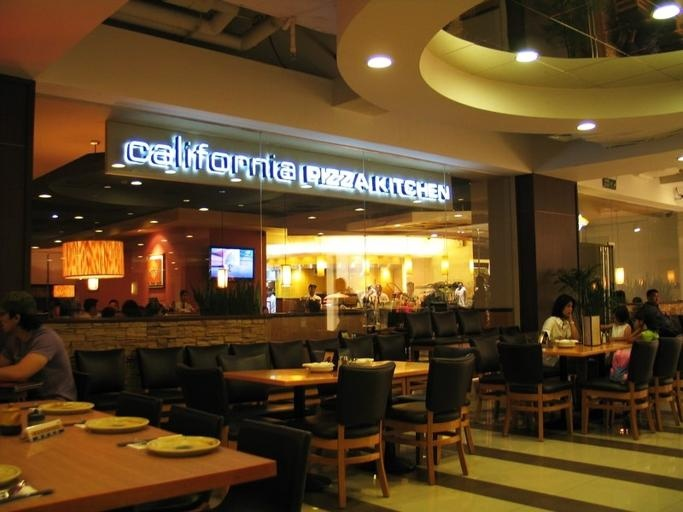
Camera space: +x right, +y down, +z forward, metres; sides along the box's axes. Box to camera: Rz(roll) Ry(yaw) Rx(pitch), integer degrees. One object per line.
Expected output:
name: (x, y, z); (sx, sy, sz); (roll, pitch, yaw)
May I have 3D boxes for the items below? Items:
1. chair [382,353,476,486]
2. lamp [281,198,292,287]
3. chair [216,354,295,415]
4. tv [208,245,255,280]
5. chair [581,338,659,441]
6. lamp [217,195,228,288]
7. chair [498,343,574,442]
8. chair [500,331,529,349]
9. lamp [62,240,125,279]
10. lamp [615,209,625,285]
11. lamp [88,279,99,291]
chair: (0.778, 1.409, 5.203); (0.800, 1.063, 0.857); (-1, -2, -2)
lamp: (-0.728, -0.025, 7.660); (0.040, 0.862, 0.156); (-2, -3, 38)
chair: (-0.934, 1.243, 5.714); (0.541, 0.737, 0.573); (5, -10, -39)
tv: (-1.402, 0.086, 7.210); (0.449, 0.302, 0.045); (3, -7, -36)
chair: (3.186, 1.462, 6.610); (0.778, 1.065, 1.080); (-2, -2, 27)
lamp: (-1.468, -0.051, 7.167); (0.057, 0.910, 0.138); (-3, -3, 40)
chair: (2.214, 1.474, 6.564); (0.739, 1.040, 1.022); (-2, -2, 21)
chair: (2.161, 1.047, 7.247); (0.290, 0.347, 0.276); (-9, -10, 44)
lamp: (-2.711, 0.035, 6.349); (0.449, 0.269, 0.435); (3, -8, -30)
lamp: (6.249, -0.016, 13.025); (0.110, 1.382, 0.422); (-3, -3, 44)
lamp: (-2.728, 0.318, 6.343); (0.102, 0.121, 0.041); (5, -16, -24)
